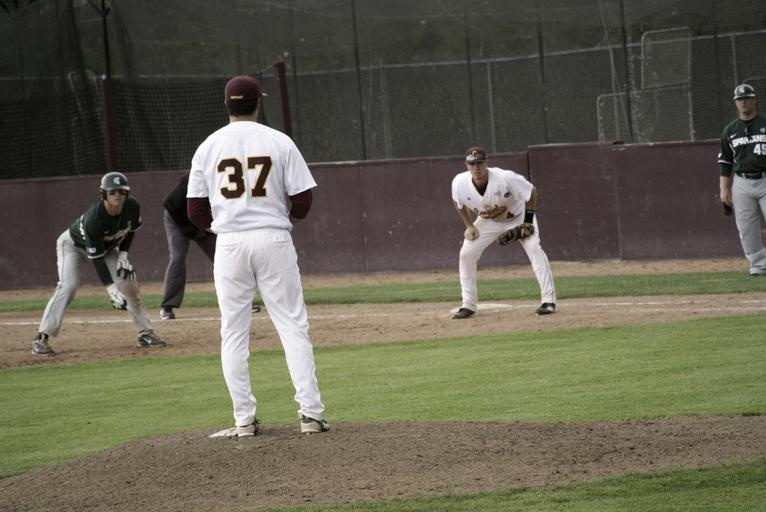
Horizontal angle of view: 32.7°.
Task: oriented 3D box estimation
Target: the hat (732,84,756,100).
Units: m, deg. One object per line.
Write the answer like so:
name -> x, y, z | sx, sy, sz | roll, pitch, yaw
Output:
hat -> 6.001, -2.703, 21.714 | 0.303, 0.221, 0.367 | -2, 5, 21

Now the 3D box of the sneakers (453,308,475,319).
sneakers -> 1.256, 0.902, 20.652 | 0.394, 0.146, 0.139 | 0, -4, -19

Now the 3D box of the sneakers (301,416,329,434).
sneakers -> -0.889, 2.096, 16.338 | 0.399, 0.168, 0.155 | 1, 4, -19

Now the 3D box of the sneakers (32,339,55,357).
sneakers -> -5.171, 1.364, 19.696 | 0.405, 0.176, 0.172 | 1, 0, 38

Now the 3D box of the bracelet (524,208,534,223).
bracelet -> 2.267, -0.620, 20.400 | 0.144, 0.223, 0.176 | -3, 5, 7

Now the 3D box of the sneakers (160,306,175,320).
sneakers -> -3.642, 0.935, 21.896 | 0.128, 0.148, 0.338 | 1, 12, -23

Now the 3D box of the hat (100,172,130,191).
hat -> -3.979, -1.100, 19.075 | 0.328, 0.204, 0.429 | 0, -4, -25

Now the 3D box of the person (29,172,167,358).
person -> -4.298, 0.100, 19.566 | 1.608, 2.646, 0.883 | -2, 5, 24

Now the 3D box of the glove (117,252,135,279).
glove -> -3.949, 0.155, 19.584 | 0.283, 0.371, 0.147 | -26, -3, -36

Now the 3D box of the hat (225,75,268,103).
hat -> -1.730, -2.106, 16.564 | 0.321, 0.230, 0.423 | 5, 13, 18

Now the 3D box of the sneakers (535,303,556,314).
sneakers -> 2.520, 0.811, 20.330 | 0.306, 0.120, 0.134 | 0, 1, -16

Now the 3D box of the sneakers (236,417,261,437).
sneakers -> -1.664, 2.122, 16.437 | 0.181, 0.204, 0.407 | 0, 6, 36

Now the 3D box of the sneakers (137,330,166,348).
sneakers -> -3.574, 1.257, 19.883 | 0.494, 0.214, 0.189 | 2, 6, 19

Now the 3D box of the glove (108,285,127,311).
glove -> -3.892, 0.586, 19.328 | 0.343, 0.336, 0.130 | -35, -8, 32

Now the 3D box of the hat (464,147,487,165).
hat -> 1.431, -1.536, 20.170 | 0.289, 0.242, 0.370 | -3, 5, 10
